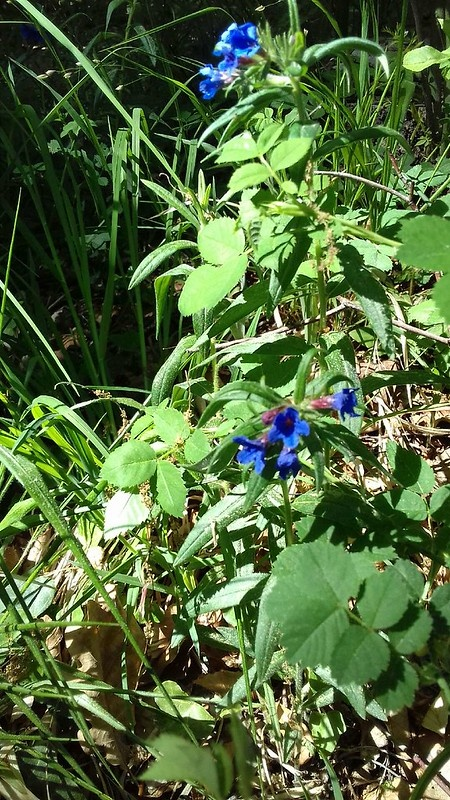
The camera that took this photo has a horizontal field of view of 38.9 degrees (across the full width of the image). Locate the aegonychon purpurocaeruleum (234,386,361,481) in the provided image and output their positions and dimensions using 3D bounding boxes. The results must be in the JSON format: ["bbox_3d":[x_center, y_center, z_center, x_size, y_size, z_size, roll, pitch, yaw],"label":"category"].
[{"bbox_3d":[0.096,0.036,0.829,0.131,0.052,0.133,25,60,38],"label":"aegonychon purpurocaeruleum"}]
